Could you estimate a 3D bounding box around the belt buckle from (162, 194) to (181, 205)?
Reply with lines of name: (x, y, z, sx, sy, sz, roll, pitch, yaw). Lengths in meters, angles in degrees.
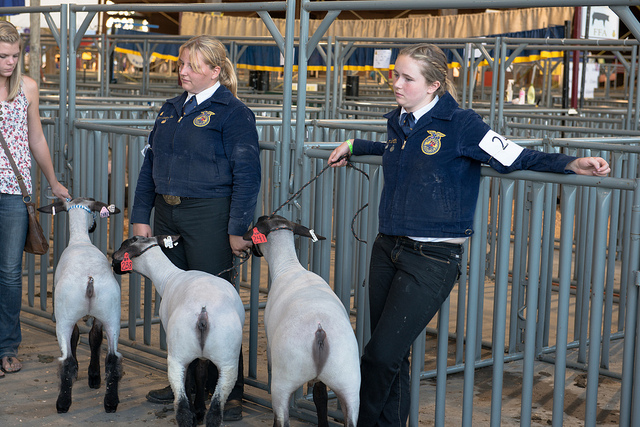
belt buckle: (-1.326, -0.134, 8.523, 0.179, 0.092, 0.041, 5, 8, 32)

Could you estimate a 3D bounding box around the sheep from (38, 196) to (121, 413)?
sheep: (-2.243, 0.893, 9.317, 0.679, 1.983, 2.323, -1, 7, -17)

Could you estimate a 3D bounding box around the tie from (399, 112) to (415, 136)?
tie: (0.728, -0.748, 7.743, 0.049, 0.176, 0.124, 6, -4, -44)

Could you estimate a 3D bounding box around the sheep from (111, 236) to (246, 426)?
sheep: (-1.131, 1.002, 8.149, 0.592, 1.540, 1.099, -5, 9, -43)

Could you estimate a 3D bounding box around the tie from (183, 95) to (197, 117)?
tie: (-1.149, -0.984, 8.433, 0.133, 0.163, 0.084, 1, 6, 1)

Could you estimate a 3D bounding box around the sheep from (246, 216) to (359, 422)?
sheep: (-0.127, 0.857, 7.828, 0.651, 1.553, 1.063, -2, 7, -18)
